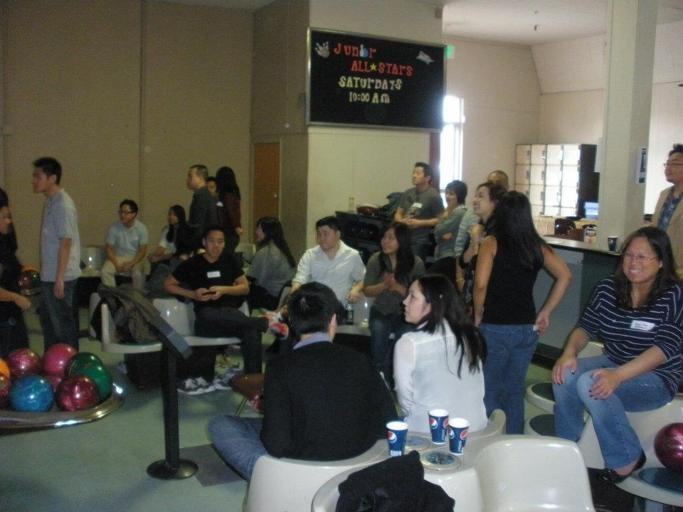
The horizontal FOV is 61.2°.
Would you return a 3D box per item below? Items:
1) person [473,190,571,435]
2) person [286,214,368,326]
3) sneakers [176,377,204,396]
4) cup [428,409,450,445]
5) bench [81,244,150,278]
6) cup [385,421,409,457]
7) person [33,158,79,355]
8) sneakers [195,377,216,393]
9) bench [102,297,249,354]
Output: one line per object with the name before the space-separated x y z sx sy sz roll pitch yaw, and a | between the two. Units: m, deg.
person | 1.217 0.472 4.030 0.615 1.836 0.365 1 21 11
person | -0.047 0.087 5.423 0.868 1.206 0.832 2 11 8
sneakers | -1.311 1.140 5.058 0.249 0.116 0.103 0 0 28
cup | 0.448 0.780 2.672 0.127 0.148 0.127 -1 1 0
bench | -3.199 0.085 7.588 0.359 0.394 0.373 8 -8 -40
cup | 0.246 0.807 2.558 0.132 0.152 0.130 -2 2 0
person | -2.588 0.150 5.271 0.344 1.473 0.503 -2 12 -10
sneakers | -1.197 1.137 5.097 0.170 0.071 0.093 14 14 42
bench | -1.481 0.620 4.938 0.738 0.253 0.612 0 2 -37
